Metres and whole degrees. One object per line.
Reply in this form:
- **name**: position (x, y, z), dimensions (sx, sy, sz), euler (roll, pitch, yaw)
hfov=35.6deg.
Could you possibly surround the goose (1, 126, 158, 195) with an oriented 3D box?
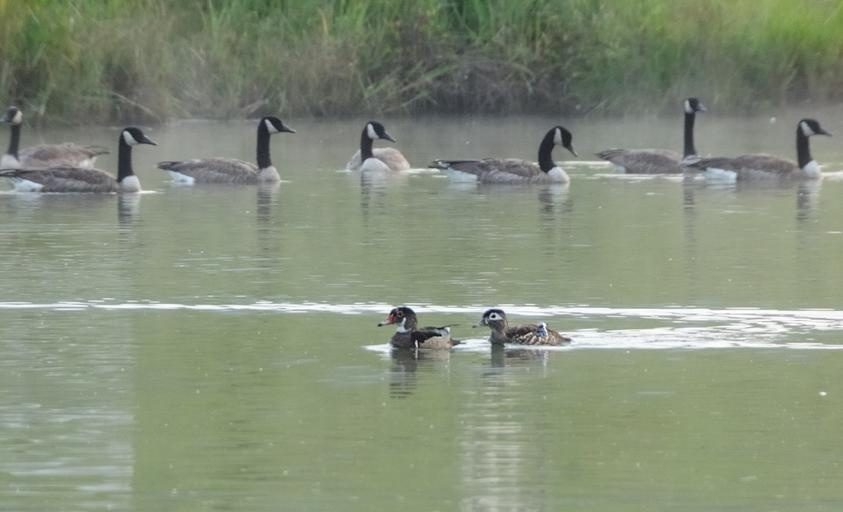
- **goose**: position (-8.155, -2.115, 32.023), dimensions (3.114, 1.506, 1.479), euler (-1, 36, -2)

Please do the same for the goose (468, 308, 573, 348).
- **goose**: position (1.614, 1.248, 20.416), dimensions (1.600, 0.768, 0.623), euler (0, 1, -26)

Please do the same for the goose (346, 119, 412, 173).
- **goose**: position (-1.189, -2.877, 36.818), dimensions (1.064, 1.927, 3.488), euler (2, 2, -33)

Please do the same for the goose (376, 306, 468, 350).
- **goose**: position (-0.046, 1.177, 20.145), dimensions (1.535, 0.540, 0.478), euler (4, -1, 13)

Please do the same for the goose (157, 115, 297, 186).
- **goose**: position (-5.150, -2.611, 34.138), dimensions (2.991, 1.258, 2.023), euler (-4, 35, -7)
